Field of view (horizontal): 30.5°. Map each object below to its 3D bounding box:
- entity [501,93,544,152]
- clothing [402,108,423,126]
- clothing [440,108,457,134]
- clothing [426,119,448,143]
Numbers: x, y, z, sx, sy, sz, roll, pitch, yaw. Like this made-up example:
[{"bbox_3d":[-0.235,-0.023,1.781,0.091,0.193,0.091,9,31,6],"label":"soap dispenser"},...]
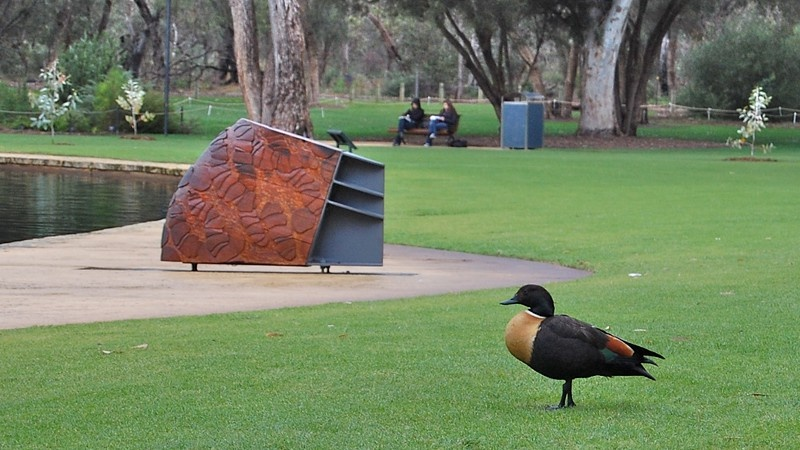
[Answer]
[{"bbox_3d":[7.609,-5.833,90.611,3.055,3.736,2.993,3,-8,-6],"label":"entity"},{"bbox_3d":[0.853,-6.590,90.672,0.998,1.083,1.180,-5,-15,36],"label":"clothing"},{"bbox_3d":[2.972,-6.248,89.296,0.546,0.916,1.374,-9,22,-44],"label":"clothing"},{"bbox_3d":[2.250,-5.596,89.264,1.215,1.473,0.628,-2,8,-26],"label":"clothing"}]
